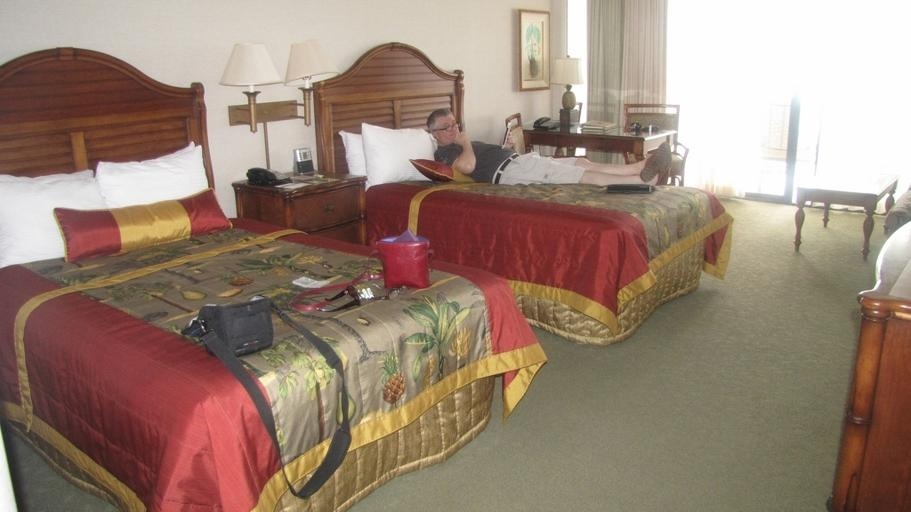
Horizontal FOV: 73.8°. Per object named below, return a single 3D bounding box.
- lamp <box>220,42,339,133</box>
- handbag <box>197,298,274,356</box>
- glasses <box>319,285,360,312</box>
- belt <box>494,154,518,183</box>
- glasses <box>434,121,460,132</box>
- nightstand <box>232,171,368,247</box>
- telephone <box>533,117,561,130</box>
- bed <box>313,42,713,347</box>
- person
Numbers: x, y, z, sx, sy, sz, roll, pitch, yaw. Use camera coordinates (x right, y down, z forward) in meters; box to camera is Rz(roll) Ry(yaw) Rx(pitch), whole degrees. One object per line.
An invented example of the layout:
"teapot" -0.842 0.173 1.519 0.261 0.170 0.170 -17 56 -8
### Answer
"lamp" -1.755 -1.664 5.921 0.405 0.584 0.993 15 22 41
"handbag" -1.349 0.433 3.733 0.434 0.288 0.279 -6 19 -12
"glasses" -0.765 0.309 4.067 0.253 0.098 0.139 -27 42 -28
"belt" 0.543 -0.942 6.526 0.073 0.292 0.281 32 2 18
"glasses" -0.102 -1.448 6.792 0.236 0.062 0.228 7 19 38
"nightstand" -1.502 -0.555 6.067 0.817 0.901 1.009 10 21 31
"telephone" 1.317 -1.863 8.513 0.255 0.092 0.332 5 14 27
"bed" 0.462 -0.695 6.573 4.087 2.423 2.979 13 29 27
"person" 0.909 -1.159 6.643 2.769 0.823 1.011 5 24 17
